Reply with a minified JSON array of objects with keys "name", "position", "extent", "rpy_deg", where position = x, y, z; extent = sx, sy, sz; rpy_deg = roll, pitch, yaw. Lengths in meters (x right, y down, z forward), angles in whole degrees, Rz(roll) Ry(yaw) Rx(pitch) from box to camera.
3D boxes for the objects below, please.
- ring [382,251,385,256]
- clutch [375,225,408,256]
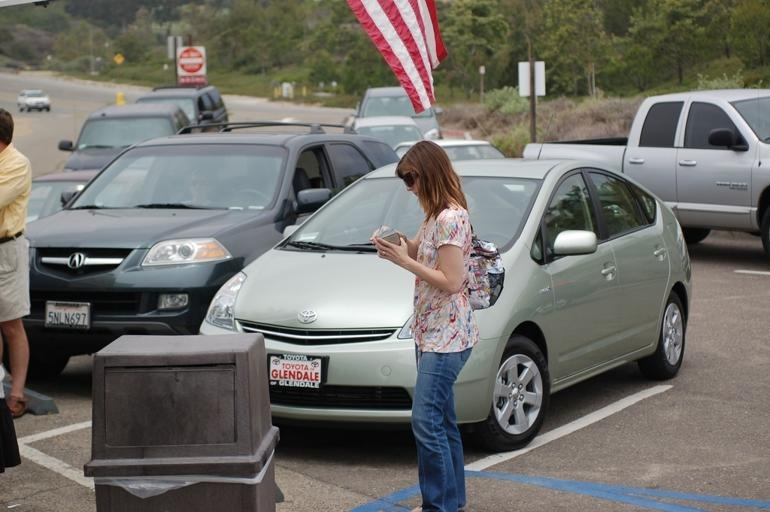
[{"name":"ring","position":[-0.002,-0.013,4.433],"extent":[0.019,0.011,0.028],"rpy_deg":[-2,2,3]},{"name":"clutch","position":[0.033,-0.120,4.450],"extent":[0.188,0.109,0.114],"rpy_deg":[-1,11,-4]}]
